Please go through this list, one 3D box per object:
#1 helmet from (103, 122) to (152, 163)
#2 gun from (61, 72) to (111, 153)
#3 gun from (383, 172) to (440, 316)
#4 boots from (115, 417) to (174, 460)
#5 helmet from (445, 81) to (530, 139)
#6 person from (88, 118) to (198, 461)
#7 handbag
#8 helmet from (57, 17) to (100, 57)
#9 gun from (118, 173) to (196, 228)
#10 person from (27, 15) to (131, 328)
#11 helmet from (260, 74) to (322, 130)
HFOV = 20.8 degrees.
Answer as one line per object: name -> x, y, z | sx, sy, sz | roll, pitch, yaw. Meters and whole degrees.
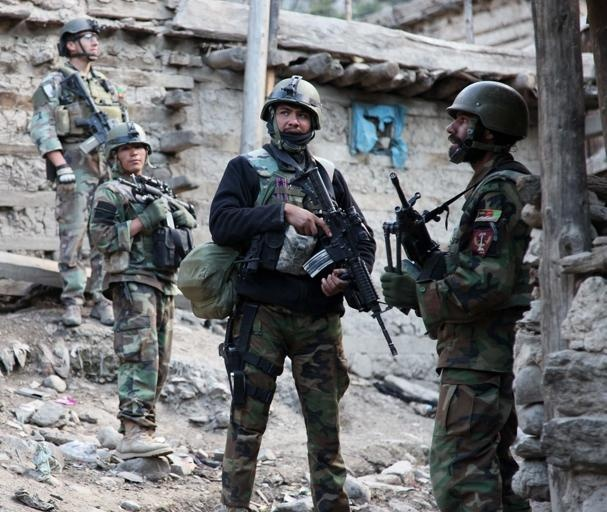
helmet -> -1.474, -0.963, 13.810 | 0.338, 0.255, 0.352 | 7, -16, -33
gun -> -1.967, -1.253, 14.856 | 0.373, 0.830, 0.117 | -23, -4, -6
gun -> 0.768, -0.082, 11.844 | 0.518, 0.964, 0.477 | 5, 13, 11
boots -> -1.258, 1.509, 13.147 | 0.477, 0.235, 0.275 | 4, -3, 7
helmet -> 1.326, -1.075, 11.931 | 0.659, 0.380, 0.460 | 9, 3, -4
person -> -1.370, 0.281, 13.651 | 0.886, 2.763, 0.947 | 1, -4, 3
handbag -> -0.675, 0.200, 12.331 | 0.556, 0.555, 0.507 | 0, -1, -3
helmet -> -2.042, -1.956, 15.034 | 0.278, 0.375, 0.310 | 11, 21, 31
gun -> -1.339, -0.537, 13.672 | 0.668, 0.372, 0.084 | 30, -44, -1
person -> -2.028, -0.779, 15.094 | 0.698, 2.764, 1.157 | 0, 3, 32
helmet -> -0.071, -1.178, 12.306 | 0.423, 0.352, 0.430 | 9, 18, 0
